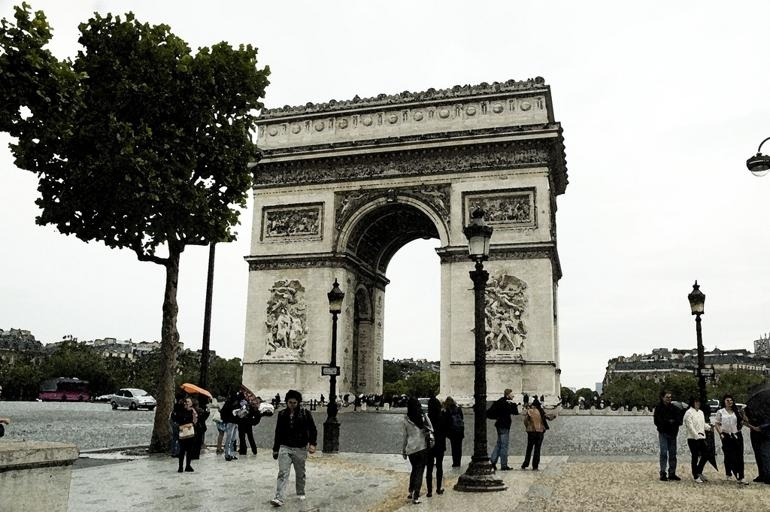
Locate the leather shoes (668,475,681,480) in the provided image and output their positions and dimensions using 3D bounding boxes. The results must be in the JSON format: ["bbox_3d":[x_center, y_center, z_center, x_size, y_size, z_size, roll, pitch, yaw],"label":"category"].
[{"bbox_3d":[7.888,6.000,22.032,0.358,0.136,0.180,7,-14,-28],"label":"leather shoes"}]

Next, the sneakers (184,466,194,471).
[{"bbox_3d":[-5.551,6.017,22.961,0.263,0.176,0.451,6,-14,-25],"label":"sneakers"}]

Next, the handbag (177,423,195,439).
[{"bbox_3d":[-5.666,4.954,23.007,0.370,0.338,0.357,-6,-34,-4],"label":"handbag"}]

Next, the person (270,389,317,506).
[{"bbox_3d":[-2.275,4.728,20.092,0.999,2.741,1.005,2,-12,-7],"label":"person"}]

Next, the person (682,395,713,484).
[{"bbox_3d":[8.720,5.118,22.653,0.633,2.238,1.461,-4,-13,20],"label":"person"}]

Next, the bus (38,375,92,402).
[{"bbox_3d":[-30.820,12.888,78.308,3.787,2.326,3.519,-8,-15,33],"label":"bus"}]

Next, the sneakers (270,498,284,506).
[{"bbox_3d":[-2.606,5.896,19.429,0.169,0.130,0.267,0,-35,2],"label":"sneakers"}]

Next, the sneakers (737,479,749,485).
[{"bbox_3d":[9.625,6.052,21.748,0.121,0.105,0.240,-8,-14,41],"label":"sneakers"}]

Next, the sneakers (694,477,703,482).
[{"bbox_3d":[8.469,6.017,21.865,0.174,0.132,0.181,-4,-13,19],"label":"sneakers"}]

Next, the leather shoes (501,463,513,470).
[{"bbox_3d":[3.539,6.147,23.736,0.147,0.260,0.426,0,-1,40],"label":"leather shoes"}]

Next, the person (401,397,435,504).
[{"bbox_3d":[0.810,4.775,20.067,0.707,2.532,0.917,0,-12,2],"label":"person"}]

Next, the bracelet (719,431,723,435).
[{"bbox_3d":[9.210,4.833,22.198,0.040,0.061,0.133,4,-13,-14],"label":"bracelet"}]

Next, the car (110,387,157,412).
[{"bbox_3d":[-18.724,10.561,59.937,2.746,1.629,3.710,6,-14,-23],"label":"car"}]
